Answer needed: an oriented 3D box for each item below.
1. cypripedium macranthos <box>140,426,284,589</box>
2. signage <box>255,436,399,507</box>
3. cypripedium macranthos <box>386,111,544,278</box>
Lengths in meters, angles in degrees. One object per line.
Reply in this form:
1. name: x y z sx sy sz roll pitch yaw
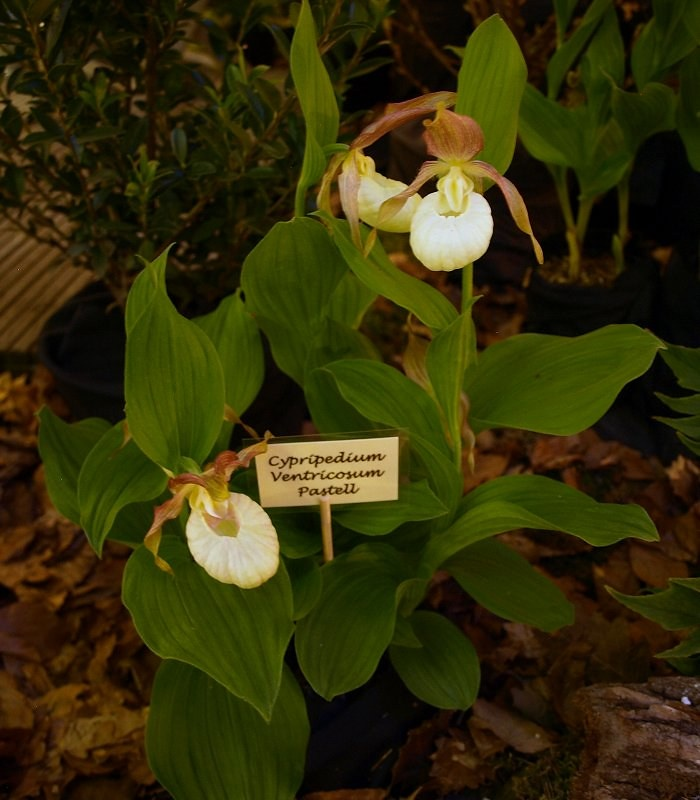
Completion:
1. cypripedium macranthos: -0.210 0.185 1.113 0.245 0.126 0.253 6 45 -41
2. signage: -0.040 0.116 1.217 0.204 0.104 0.008 -3 43 -3
3. cypripedium macranthos: 0.161 -0.287 1.107 0.266 0.139 0.243 -1 99 7
